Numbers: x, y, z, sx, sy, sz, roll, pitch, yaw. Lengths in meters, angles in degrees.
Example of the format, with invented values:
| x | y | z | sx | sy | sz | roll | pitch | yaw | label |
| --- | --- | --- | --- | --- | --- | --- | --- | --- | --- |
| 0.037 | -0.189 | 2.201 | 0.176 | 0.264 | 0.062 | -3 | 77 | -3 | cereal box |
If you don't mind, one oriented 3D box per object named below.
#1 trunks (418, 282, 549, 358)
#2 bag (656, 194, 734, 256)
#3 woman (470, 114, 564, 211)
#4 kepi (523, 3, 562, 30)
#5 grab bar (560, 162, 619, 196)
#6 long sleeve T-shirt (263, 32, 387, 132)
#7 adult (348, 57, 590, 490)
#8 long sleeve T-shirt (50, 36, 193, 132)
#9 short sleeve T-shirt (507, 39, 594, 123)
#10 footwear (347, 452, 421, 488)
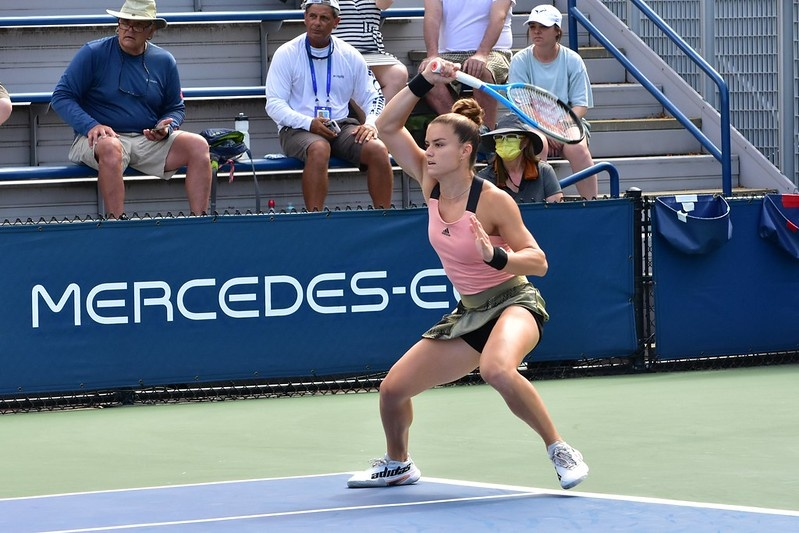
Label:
| x | y | z | sx | sy | sz | roll | pitch | yaw | label |
| --- | --- | --- | --- | --- | --- | --- | --- | --- | --- |
| 0.695 | 0.372 | 9.475 | 0.950 | 0.523 | 0.491 | -18 | -29 | 24 | trunks |
| 2.968 | -0.441 | 12.512 | 0.862 | 0.470 | 0.562 | -12 | 28 | -31 | bag |
| 1.090 | -1.097 | 12.173 | 1.196 | 0.931 | 0.601 | -1 | -6 | 2 | woman |
| 1.557 | -2.707 | 13.541 | 0.331 | 0.262 | 0.271 | -3 | 7 | -1 | kepi |
| 1.965 | -0.927 | 13.086 | 0.114 | 0.351 | 0.854 | -17 | 20 | -41 | grab bar |
| -0.791 | -1.923 | 13.308 | 1.352 | 0.914 | 0.961 | -4 | 30 | -20 | long sleeve T-shirt |
| 0.488 | 0.063 | 9.290 | 1.573 | 3.197 | 0.686 | 0 | 7 | 18 | adult |
| -2.881 | -1.824 | 12.821 | 1.477 | 0.987 | 0.860 | -1 | 18 | -35 | long sleeve T-shirt |
| 1.665 | -2.083 | 13.811 | 0.977 | 0.674 | 0.387 | 1 | 22 | 26 | short sleeve T-shirt |
| -0.124 | 1.557 | 9.470 | 0.625 | 0.236 | 0.211 | -1 | -8 | -5 | footwear |
